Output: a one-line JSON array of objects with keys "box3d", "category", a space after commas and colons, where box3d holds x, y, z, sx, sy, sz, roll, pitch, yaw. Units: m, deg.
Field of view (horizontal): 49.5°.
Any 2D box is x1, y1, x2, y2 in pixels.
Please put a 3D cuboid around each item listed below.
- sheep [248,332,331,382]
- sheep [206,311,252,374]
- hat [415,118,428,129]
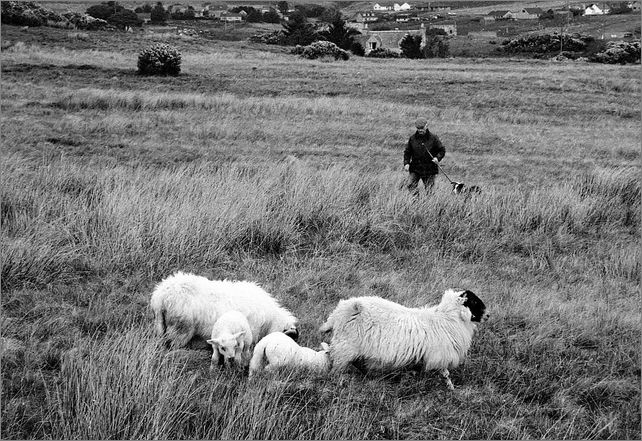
[{"box3d": [-0.624, 2.607, 13.242, 1.795, 1.071, 0.650, 7, -7, -8], "category": "sheep"}, {"box3d": [-1.729, 2.323, 13.349, 0.992, 0.839, 0.677, -12, 25, -39], "category": "sheep"}, {"box3d": [2.976, -2.847, 20.617, 0.261, 0.309, 0.369, 6, 26, 25], "category": "hat"}]
